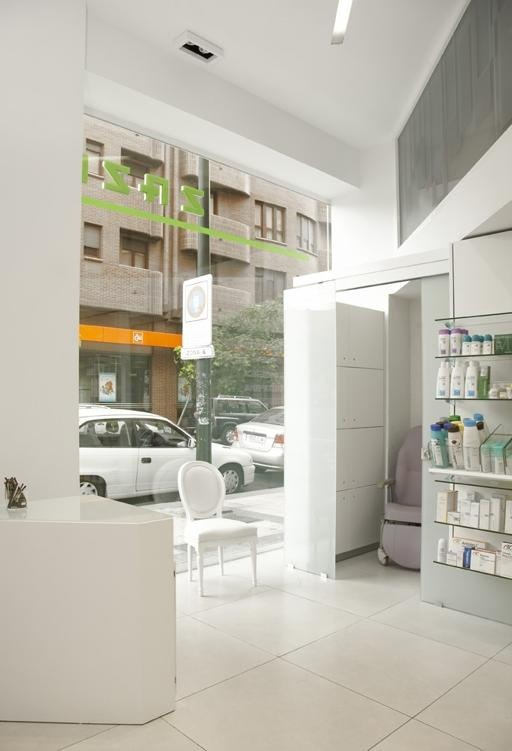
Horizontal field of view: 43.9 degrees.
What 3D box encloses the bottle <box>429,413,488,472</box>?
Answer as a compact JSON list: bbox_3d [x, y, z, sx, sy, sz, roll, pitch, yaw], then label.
[{"bbox_3d":[1.141,0.378,3.656,0.304,0.315,0.318,2,-4,-22],"label":"bottle"}]
